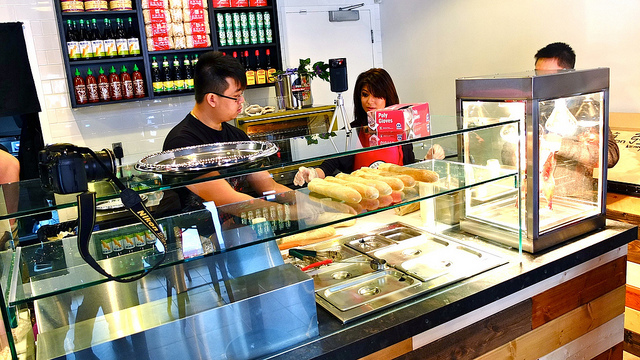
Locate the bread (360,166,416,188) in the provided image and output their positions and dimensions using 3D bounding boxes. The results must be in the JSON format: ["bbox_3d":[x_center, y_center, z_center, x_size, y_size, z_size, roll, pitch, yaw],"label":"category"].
[{"bbox_3d":[0.407,-0.017,2.328,0.127,0.101,0.447,23,-9,-35],"label":"bread"}]

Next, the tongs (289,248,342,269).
[{"bbox_3d":[-0.028,0.433,2.372,0.219,0.039,0.128,9,24,14],"label":"tongs"}]

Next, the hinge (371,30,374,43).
[{"bbox_3d":[0.727,-1.996,5.760,0.037,0.168,0.030,-12,20,-15],"label":"hinge"}]

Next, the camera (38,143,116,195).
[{"bbox_3d":[-0.987,-0.065,1.725,0.277,0.153,0.229,-7,12,-37],"label":"camera"}]

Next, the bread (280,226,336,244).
[{"bbox_3d":[-0.058,0.329,2.439,0.250,0.035,0.138,-8,6,-29],"label":"bread"}]

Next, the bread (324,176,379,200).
[{"bbox_3d":[0.168,0.065,2.268,0.116,0.089,0.411,-17,15,-38],"label":"bread"}]

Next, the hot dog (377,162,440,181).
[{"bbox_3d":[0.449,-0.044,2.300,0.395,0.076,0.116,11,16,22],"label":"hot dog"}]

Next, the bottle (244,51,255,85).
[{"bbox_3d":[-0.844,-1.330,4.921,0.099,0.383,0.318,-7,18,-1],"label":"bottle"}]

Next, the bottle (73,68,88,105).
[{"bbox_3d":[-2.491,-0.951,4.255,0.130,0.342,0.091,-15,21,-23],"label":"bottle"}]

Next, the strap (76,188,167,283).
[{"bbox_3d":[-0.833,0.237,1.737,0.320,0.440,0.170,-14,20,-23],"label":"strap"}]

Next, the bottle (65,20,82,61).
[{"bbox_3d":[-2.516,-1.403,4.174,0.126,0.400,0.126,-6,19,2],"label":"bottle"}]

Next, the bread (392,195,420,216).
[{"bbox_3d":[0.518,0.153,2.556,0.191,0.054,0.135,-13,10,-37],"label":"bread"}]

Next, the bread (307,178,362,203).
[{"bbox_3d":[0.060,0.043,2.161,0.336,0.080,0.100,13,8,34],"label":"bread"}]

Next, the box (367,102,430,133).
[{"bbox_3d":[0.489,-0.338,2.351,0.369,0.115,0.264,-9,11,-40],"label":"box"}]

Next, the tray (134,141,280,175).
[{"bbox_3d":[-0.522,-0.105,1.965,0.686,0.078,0.275,-10,17,-17],"label":"tray"}]
